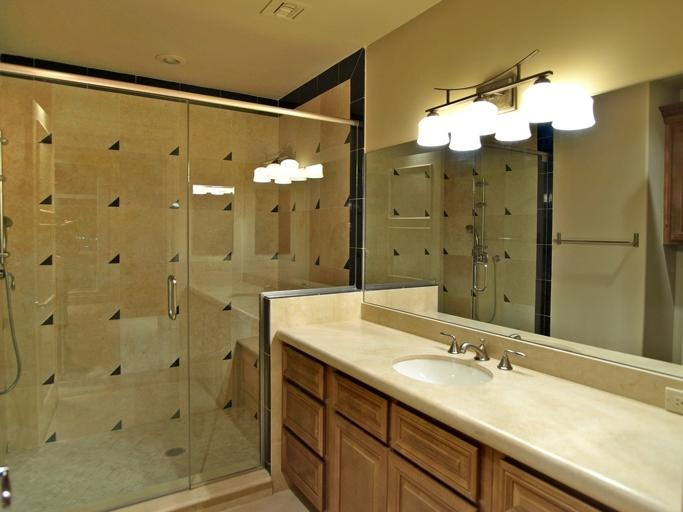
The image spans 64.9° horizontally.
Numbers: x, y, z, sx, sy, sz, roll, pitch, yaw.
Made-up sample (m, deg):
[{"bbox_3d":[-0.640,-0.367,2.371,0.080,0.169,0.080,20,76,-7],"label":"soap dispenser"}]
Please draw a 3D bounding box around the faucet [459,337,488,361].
[{"bbox_3d":[0.694,0.498,2.792,0.169,0.098,0.071,5,-7,-41],"label":"faucet"}]

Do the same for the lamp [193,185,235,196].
[{"bbox_3d":[-0.777,-0.398,3.273,0.256,0.067,0.039,-2,3,-18],"label":"lamp"}]
